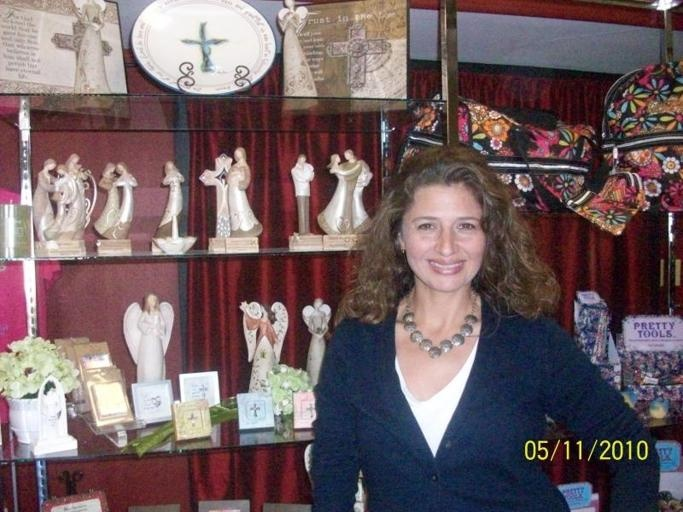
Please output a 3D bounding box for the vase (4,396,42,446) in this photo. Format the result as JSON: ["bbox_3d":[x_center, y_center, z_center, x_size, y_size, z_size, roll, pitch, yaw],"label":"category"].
[{"bbox_3d":[-1.106,0.583,2.725,0.145,0.159,0.151,0,-4,-8],"label":"vase"}]

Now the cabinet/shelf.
[{"bbox_3d":[-0.483,0.128,2.856,1.608,2.074,0.579,-1,-6,-10],"label":"cabinet/shelf"}]
